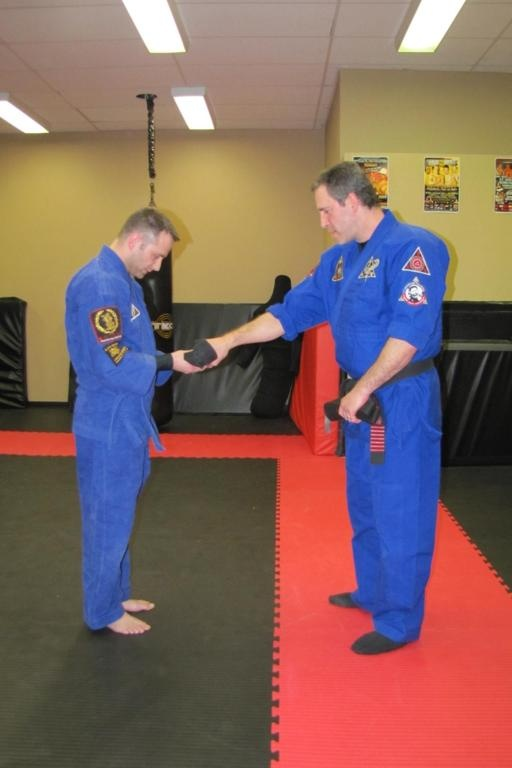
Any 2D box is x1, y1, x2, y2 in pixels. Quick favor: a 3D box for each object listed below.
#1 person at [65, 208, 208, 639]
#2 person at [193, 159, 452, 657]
[{"bbox_3d":[-0.439,0.148,2.319,0.351,1.473,0.387,7,13,36],"label":"person"},{"bbox_3d":[0.353,0.068,2.358,0.409,1.615,0.636,-8,12,-35],"label":"person"}]
